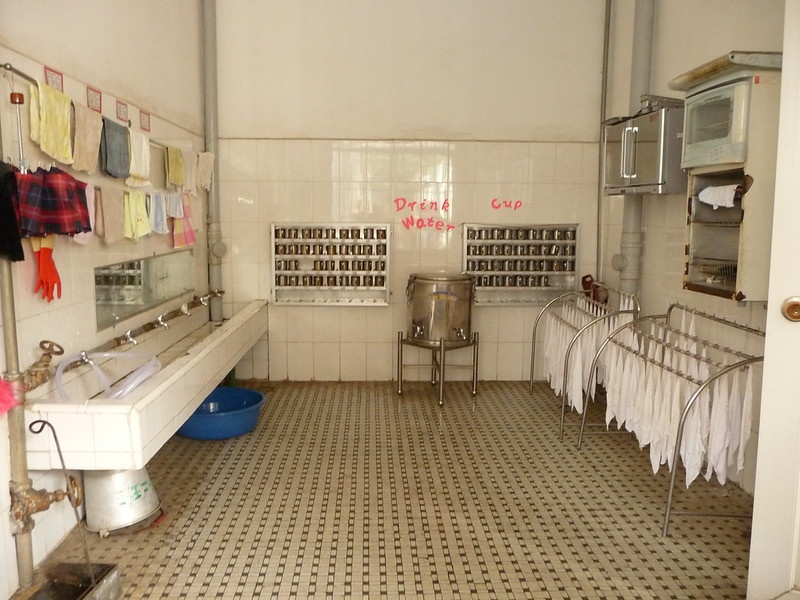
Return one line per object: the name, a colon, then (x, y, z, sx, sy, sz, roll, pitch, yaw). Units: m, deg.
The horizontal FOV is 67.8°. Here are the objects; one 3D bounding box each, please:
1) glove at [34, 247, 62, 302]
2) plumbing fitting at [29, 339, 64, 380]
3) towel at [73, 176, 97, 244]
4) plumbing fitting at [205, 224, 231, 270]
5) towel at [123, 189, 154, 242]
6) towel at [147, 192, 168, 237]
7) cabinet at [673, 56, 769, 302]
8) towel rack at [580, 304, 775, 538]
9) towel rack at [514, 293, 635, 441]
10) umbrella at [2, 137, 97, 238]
glove: (-1.885, -0.143, 3.216, 0.094, 0.310, 0.253, -1, 12, -8)
plumbing fitting: (-1.885, 0.314, 3.168, 0.157, 0.226, 0.324, -7, 14, -29)
towel: (-1.803, -0.501, 3.448, 0.087, 0.310, 0.231, 5, 7, -1)
plumbing fitting: (-1.783, -0.544, 5.764, 0.164, 0.418, 0.214, -5, 13, -23)
towel: (-1.792, -0.592, 4.026, 0.095, 0.282, 0.270, 2, 3, 15)
towel: (-1.793, -0.642, 4.383, 0.071, 0.326, 0.313, -4, 7, 5)
cabinet: (1.983, -0.712, 3.609, 0.470, 1.434, 0.655, 1, 12, 2)
towel rack: (1.766, 0.780, 3.729, 0.667, 0.997, 1.177, 4, 7, -3)
towel rack: (1.483, 0.564, 5.001, 0.424, 0.900, 1.126, 2, 3, 8)
umbrella: (-1.821, -0.583, 3.058, 0.190, 0.383, 0.593, -2, 7, 10)
